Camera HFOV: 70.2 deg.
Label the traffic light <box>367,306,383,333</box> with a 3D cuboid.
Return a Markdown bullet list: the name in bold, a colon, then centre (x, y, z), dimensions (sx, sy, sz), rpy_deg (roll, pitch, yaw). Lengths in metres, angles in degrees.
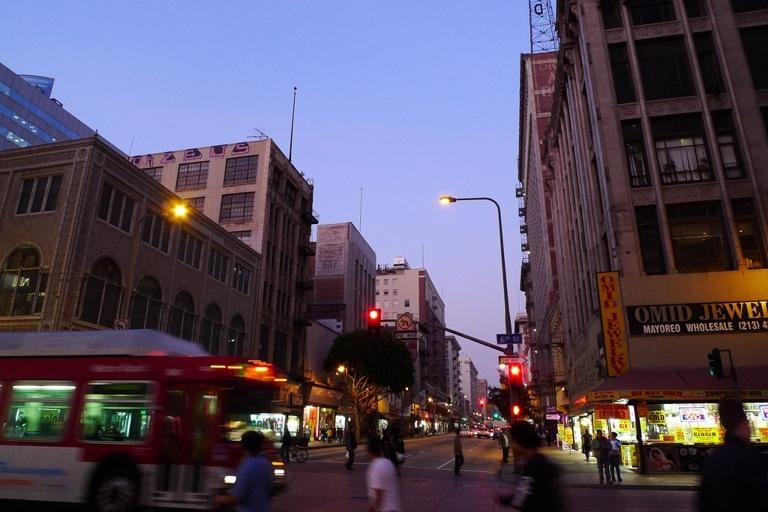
- **traffic light**: centre (-0.483, 3.021, 26.034), dimensions (0.494, 1.237, 0.975), rpy_deg (-4, -18, 5)

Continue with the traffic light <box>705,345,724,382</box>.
- **traffic light**: centre (15.014, 4.867, 24.784), dimensions (0.497, 1.303, 1.018), rpy_deg (-11, -20, 26)

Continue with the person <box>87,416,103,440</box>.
- **person**: centre (-9.765, 5.855, 18.458), dimensions (0.628, 0.599, 1.060), rpy_deg (8, -1, -30)

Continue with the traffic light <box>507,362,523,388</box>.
- **traffic light**: centre (6.168, 5.629, 26.019), dimensions (0.537, 1.173, 0.429), rpy_deg (-6, -18, 12)
